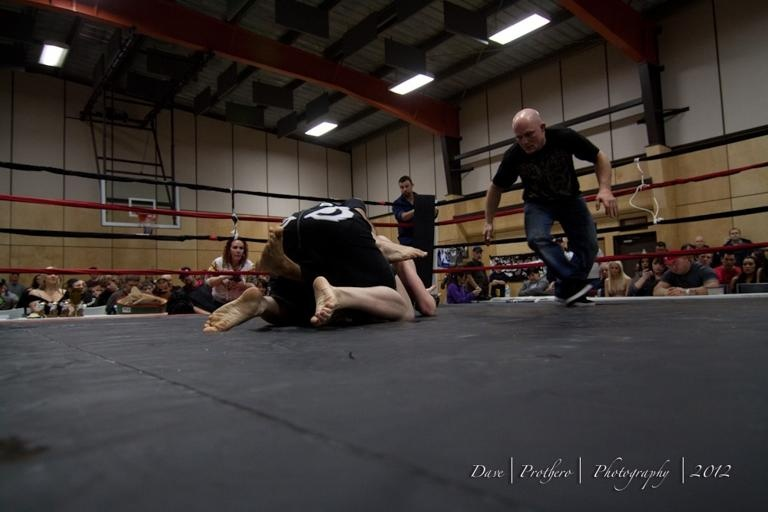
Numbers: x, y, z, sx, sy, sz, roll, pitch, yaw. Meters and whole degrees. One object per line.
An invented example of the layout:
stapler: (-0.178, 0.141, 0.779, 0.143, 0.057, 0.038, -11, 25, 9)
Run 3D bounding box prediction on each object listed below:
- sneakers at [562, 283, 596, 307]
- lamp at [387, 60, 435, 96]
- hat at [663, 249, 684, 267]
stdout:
sneakers: (1.322, 0.267, 3.143, 0.268, 0.180, 0.100, 4, -2, 20)
lamp: (0.567, -3.469, 9.493, 0.540, 0.211, 0.920, -3, -3, -35)
hat: (2.753, 0.027, 4.530, 0.229, 0.068, 0.140, -17, 3, -36)
